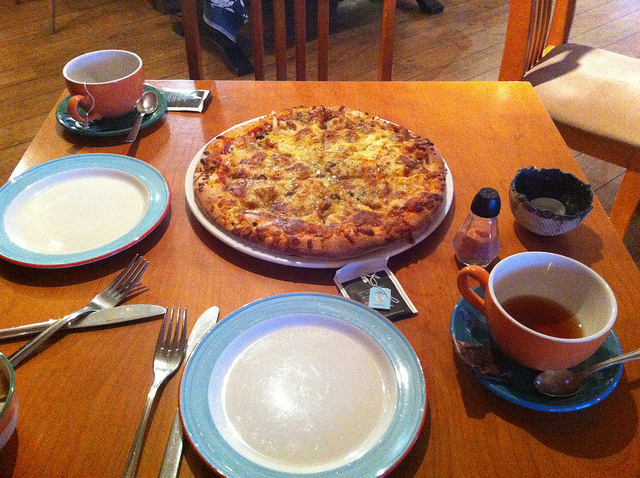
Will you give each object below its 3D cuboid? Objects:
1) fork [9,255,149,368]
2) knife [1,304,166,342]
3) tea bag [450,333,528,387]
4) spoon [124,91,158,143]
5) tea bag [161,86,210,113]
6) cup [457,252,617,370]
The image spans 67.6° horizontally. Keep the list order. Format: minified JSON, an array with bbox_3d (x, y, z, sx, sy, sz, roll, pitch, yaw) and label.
[{"bbox_3d":[-0.434,0.135,0.847,0.032,0.034,0.245,36,57,18],"label":"fork"},{"bbox_3d":[-0.413,0.140,0.835,0.271,0.028,0.029,-10,54,-6],"label":"knife"},{"bbox_3d":[0.272,0.198,0.764,0.087,0.029,0.065,18,51,-7],"label":"tea bag"},{"bbox_3d":[-0.469,-0.325,1.253,0.038,0.026,0.178,6,49,1],"label":"spoon"},{"bbox_3d":[-0.383,-0.382,1.330,0.095,0.015,0.088,2,53,3],"label":"tea bag"},{"bbox_3d":[0.330,0.113,0.765,0.227,0.115,0.188,15,44,25],"label":"cup"}]
